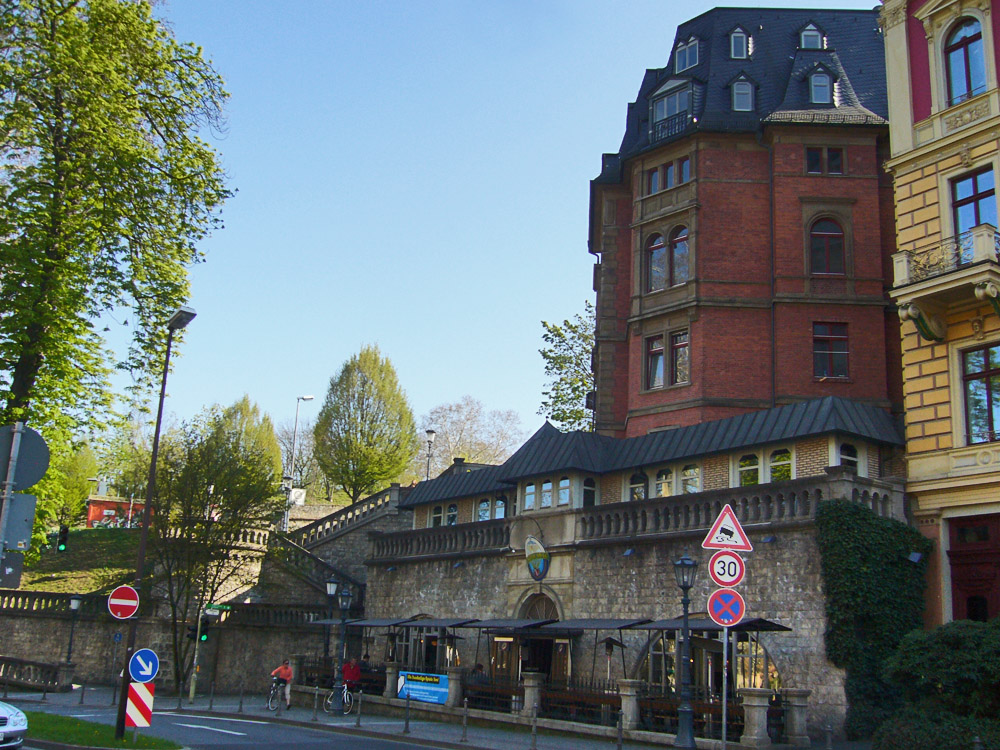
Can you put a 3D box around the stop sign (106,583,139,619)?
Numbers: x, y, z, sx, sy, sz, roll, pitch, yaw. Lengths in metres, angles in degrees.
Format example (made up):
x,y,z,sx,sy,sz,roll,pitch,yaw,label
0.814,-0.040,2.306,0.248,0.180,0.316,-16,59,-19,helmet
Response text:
x,y,z,sx,sy,sz,roll,pitch,yaw,label
-9.339,5.524,25.324,0.577,0.827,1.170,7,-21,-13,stop sign

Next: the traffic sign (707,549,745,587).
x,y,z,sx,sy,sz,roll,pitch,yaw,label
5.192,4.424,23.636,0.706,0.794,0.615,1,-20,3,traffic sign

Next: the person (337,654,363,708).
x,y,z,sx,sy,sz,roll,pitch,yaw,label
-5.736,11.596,39.314,0.805,1.126,0.782,-6,-12,-1,person

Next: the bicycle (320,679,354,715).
x,y,z,sx,sy,sz,roll,pitch,yaw,label
-5.841,11.616,36.792,1.723,0.500,1.551,-4,-9,-14,bicycle
